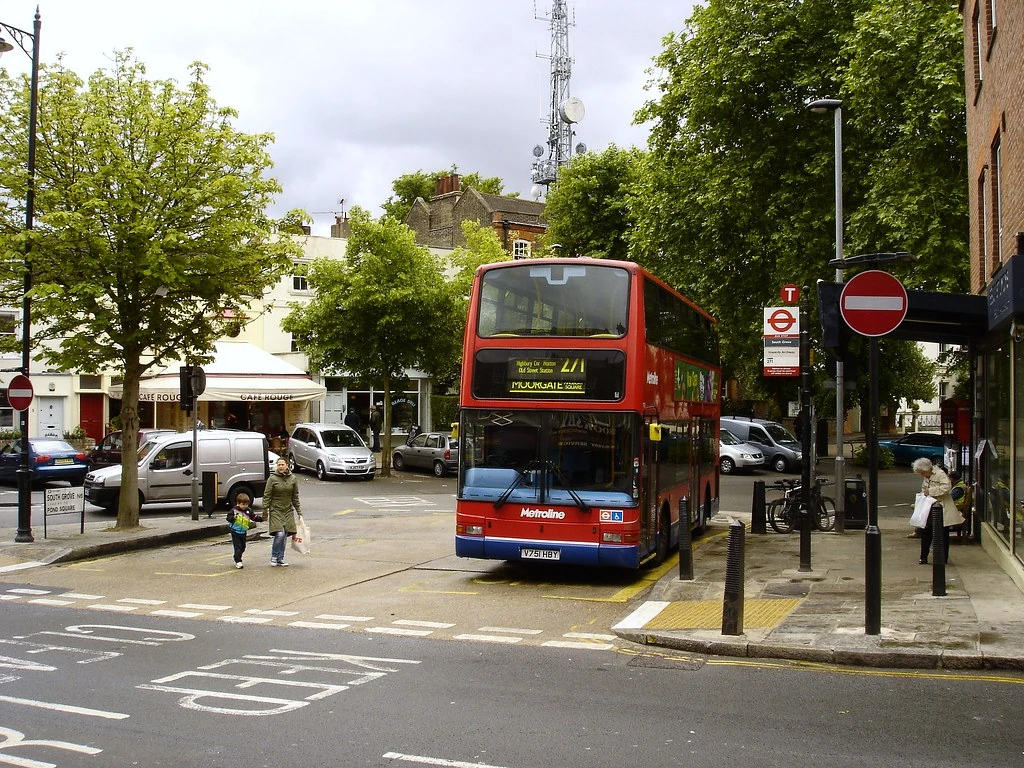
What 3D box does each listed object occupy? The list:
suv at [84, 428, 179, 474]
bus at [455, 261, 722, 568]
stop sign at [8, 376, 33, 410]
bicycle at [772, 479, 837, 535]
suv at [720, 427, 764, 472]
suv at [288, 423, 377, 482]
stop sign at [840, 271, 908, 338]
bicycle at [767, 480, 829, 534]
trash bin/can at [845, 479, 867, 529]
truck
[{"bbox_3d":[-11.567,2.214,33.963,2.922,1.509,1.687,3,4,35],"label":"suv"},{"bbox_3d":[3.106,0.476,21.403,3.442,5.379,9.497,-3,-4,36],"label":"bus"},{"bbox_3d":[-9.839,0.192,22.529,0.391,0.742,0.902,0,-3,-12],"label":"stop sign"},{"bbox_3d":[6.355,2.667,24.558,1.895,1.137,0.940,5,-10,-32],"label":"bicycle"},{"bbox_3d":[8.265,2.744,42.484,2.152,1.061,1.135,-1,0,27],"label":"suv"},{"bbox_3d":[-6.049,2.432,38.654,2.460,2.069,2.297,1,0,-38],"label":"suv"},{"bbox_3d":[4.675,-1.026,14.666,0.781,0.872,0.286,-2,-2,15],"label":"stop sign"},{"bbox_3d":[6.441,2.653,24.619,2.032,1.220,1.025,4,-10,-30],"label":"bicycle"},{"bbox_3d":[7.285,2.565,24.093,0.422,1.086,0.558,-2,-3,22],"label":"trash bin/can"},{"bbox_3d":[-8.097,2.104,27.832,3.979,1.754,1.252,0,-3,-9],"label":"truck"}]
